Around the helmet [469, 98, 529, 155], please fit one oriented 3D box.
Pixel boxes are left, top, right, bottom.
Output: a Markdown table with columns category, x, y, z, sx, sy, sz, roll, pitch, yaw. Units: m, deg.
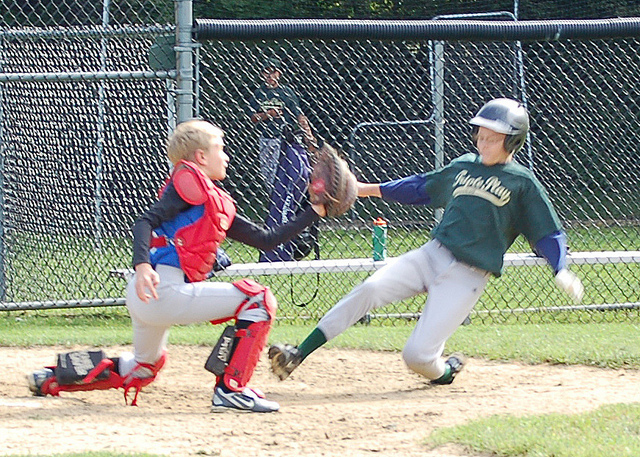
| category | x | y | z | sx | sy | sz | roll | pitch | yaw |
| --- | --- | --- | --- | --- | --- | --- | --- | --- | --- |
| helmet | 1.079 | -0.605 | 5.273 | 0.343 | 0.339 | 0.269 | 2 | 16 | -42 |

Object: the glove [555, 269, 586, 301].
| category | x | y | z | sx | sy | sz | roll | pitch | yaw |
| --- | --- | --- | --- | --- | --- | --- | --- | --- | --- |
| glove | 1.441 | 0.326 | 5.144 | 0.083 | 0.120 | 0.219 | -4 | -45 | 51 |

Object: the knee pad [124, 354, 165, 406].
| category | x | y | z | sx | sy | sz | roll | pitch | yaw |
| --- | --- | --- | --- | --- | --- | --- | --- | --- | --- |
| knee pad | -1.017 | 0.881 | 5.091 | 0.086 | 0.246 | 0.180 | 19 | -11 | 35 |

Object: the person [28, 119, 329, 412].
| category | x | y | z | sx | sy | sz | roll | pitch | yaw |
| --- | --- | --- | --- | --- | --- | --- | --- | --- | --- |
| person | -0.735 | 0.230 | 4.911 | 1.506 | 1.629 | 0.566 | -1 | 9 | -1 |
